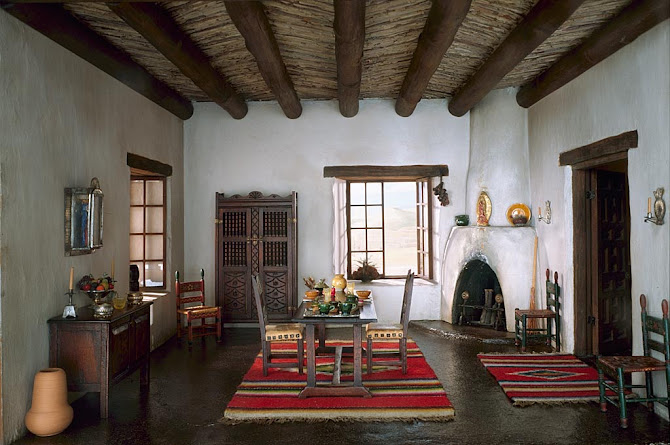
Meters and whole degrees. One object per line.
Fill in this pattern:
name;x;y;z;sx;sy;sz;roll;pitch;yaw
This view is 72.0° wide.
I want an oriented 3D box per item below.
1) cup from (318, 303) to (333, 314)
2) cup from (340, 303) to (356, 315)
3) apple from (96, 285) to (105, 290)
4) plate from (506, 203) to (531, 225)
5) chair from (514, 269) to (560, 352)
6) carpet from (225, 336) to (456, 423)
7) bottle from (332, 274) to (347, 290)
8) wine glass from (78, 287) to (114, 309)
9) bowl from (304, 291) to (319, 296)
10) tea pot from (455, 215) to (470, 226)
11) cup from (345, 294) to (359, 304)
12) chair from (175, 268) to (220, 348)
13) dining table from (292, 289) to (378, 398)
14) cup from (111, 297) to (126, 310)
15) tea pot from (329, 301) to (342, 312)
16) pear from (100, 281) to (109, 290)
cup;-0.111;1.046;5.572;0.143;0.100;0.115;3;-9;-17
cup;0.152;1.063;5.626;0.123;0.111;0.173;-3;-7;22
apple;-2.799;0.785;5.534;0.080;0.069;0.059;1;8;12
plate;3.130;-0.148;7.864;0.403;0.386;0.186;1;8;13
chair;3.076;1.355;7.118;0.793;1.147;0.778;-5;-3;44
carpet;0.089;2.075;5.816;2.609;0.113;1.435;-1;7;1
bottle;0.023;0.805;6.290;0.193;0.227;0.191;-2;5;-37
wine glass;-2.833;0.907;5.646;0.312;0.141;0.320;-3;-5;36
bowl;-0.319;0.999;6.470;0.178;0.093;0.181;0;-14;0
tea pot;2.302;-0.029;8.358;0.209;0.144;0.183;-2;-9;15
cup;0.217;0.979;5.865;0.132;0.105;0.102;-5;-7;42
chair;-2.221;1.383;7.577;0.724;1.152;0.779;0;-2;-20
dining table;0.035;1.667;6.448;1.025;0.959;1.948;0;-1;4
cup;-2.632;1.007;5.668;0.144;0.108;0.146;0;-9;0
tea pot;0.006;1.037;5.628;0.115;0.115;0.114;-1;-7;0
pear;-2.750;0.752;5.511;0.086;0.106;0.088;6;4;42
